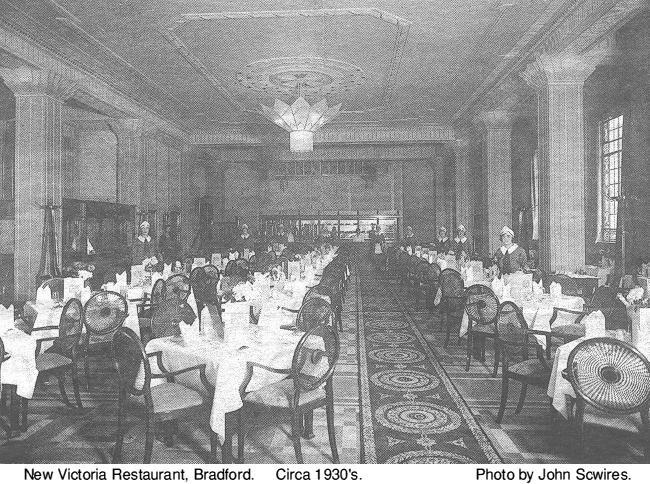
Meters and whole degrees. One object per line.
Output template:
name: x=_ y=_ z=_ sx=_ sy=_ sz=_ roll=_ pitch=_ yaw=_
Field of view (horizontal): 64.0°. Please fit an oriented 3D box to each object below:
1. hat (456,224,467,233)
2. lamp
hat: x=3.877 y=-0.379 z=14.810 sx=0.480 sy=0.181 sz=0.565 roll=2 pitch=-1 yaw=7
lamp: x=-0.516 y=-2.492 z=11.208 sx=1.401 sy=1.005 sz=1.387 roll=0 pitch=-4 yaw=-1
